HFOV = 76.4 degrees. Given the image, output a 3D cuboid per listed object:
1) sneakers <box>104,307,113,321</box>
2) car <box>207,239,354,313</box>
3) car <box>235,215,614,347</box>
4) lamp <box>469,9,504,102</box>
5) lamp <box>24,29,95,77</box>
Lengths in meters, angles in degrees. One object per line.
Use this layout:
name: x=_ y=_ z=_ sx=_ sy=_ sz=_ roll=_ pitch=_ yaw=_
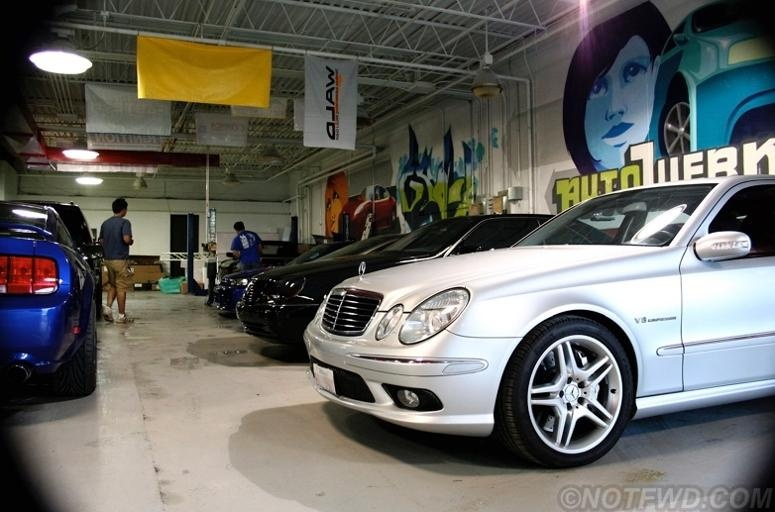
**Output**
sneakers: x=-5.249 y=1.137 z=9.275 sx=0.164 sy=0.163 sz=0.368 roll=3 pitch=-18 yaw=-16
car: x=-1.908 y=0.331 z=8.593 sx=2.832 sy=0.874 sz=1.121 roll=-1 pitch=-1 yaw=-14
car: x=0.343 y=0.146 z=5.636 sx=3.648 sy=1.088 sz=1.515 roll=-2 pitch=-1 yaw=-20
lamp: x=1.902 y=-3.821 z=9.331 sx=0.503 sy=1.529 sz=0.492 roll=2 pitch=-3 yaw=-1
lamp: x=-4.952 y=-3.173 z=7.499 sx=0.735 sy=0.621 sz=1.132 roll=-4 pitch=7 yaw=-22
